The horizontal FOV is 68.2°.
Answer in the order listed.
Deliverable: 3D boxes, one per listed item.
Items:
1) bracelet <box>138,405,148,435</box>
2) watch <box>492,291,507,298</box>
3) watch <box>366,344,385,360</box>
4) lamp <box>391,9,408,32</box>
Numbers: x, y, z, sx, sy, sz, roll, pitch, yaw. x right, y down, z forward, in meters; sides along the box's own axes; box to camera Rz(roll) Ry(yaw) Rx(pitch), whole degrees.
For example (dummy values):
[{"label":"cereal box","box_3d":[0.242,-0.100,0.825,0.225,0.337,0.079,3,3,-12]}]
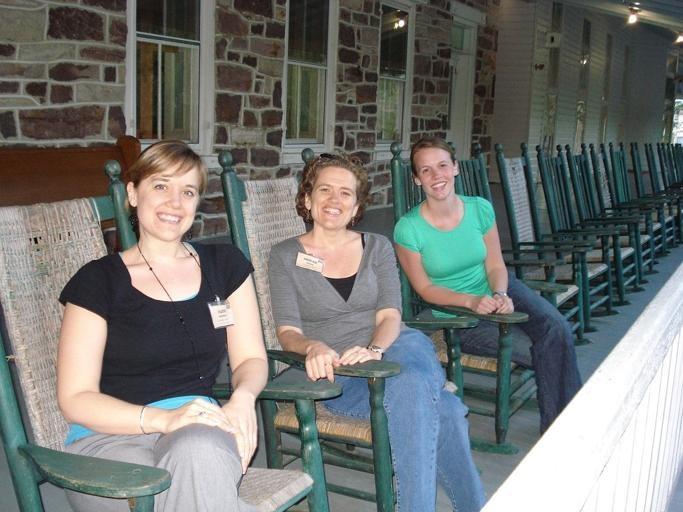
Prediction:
[{"label":"bracelet","box_3d":[-0.577,0.479,1.468,0.021,0.067,0.035,-3,8,1]},{"label":"watch","box_3d":[0.822,0.205,2.630,0.051,0.033,0.047,17,-25,-34]},{"label":"watch","box_3d":[0.130,0.368,1.953,0.049,0.030,0.058,36,-8,-39]},{"label":"lamp","box_3d":[0.926,-3.775,8.097,0.079,0.311,0.340,13,18,37]}]
